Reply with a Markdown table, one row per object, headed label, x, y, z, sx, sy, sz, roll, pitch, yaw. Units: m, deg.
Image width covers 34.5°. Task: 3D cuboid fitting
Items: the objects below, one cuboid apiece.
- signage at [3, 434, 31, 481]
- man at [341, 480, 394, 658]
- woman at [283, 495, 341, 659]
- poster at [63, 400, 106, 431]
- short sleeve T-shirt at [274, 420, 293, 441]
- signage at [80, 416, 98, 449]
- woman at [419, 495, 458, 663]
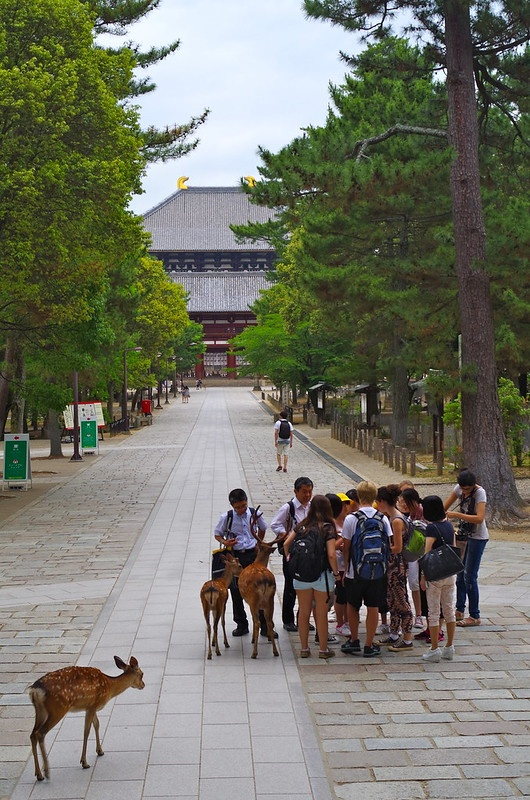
| label | x | y | z | sx | sy | sz | roll | pitch | yaw |
| --- | --- | --- | --- | --- | --- | --- | --- | --- | --- |
| signage | -5.365 | 1.297 | 18.466 | 0.529 | 1.112 | 0.673 | 0 | -1 | -17 |
| man | 0.816 | 1.377 | 6.901 | 0.418 | 1.446 | 0.573 | -1 | -1 | 6 |
| woman | 0.395 | 1.424 | 6.843 | 0.372 | 1.318 | 0.558 | 0 | -1 | -22 |
| poster | -5.773 | 0.504 | 27.067 | 1.155 | 0.805 | 0.416 | -1 | 7 | -1 |
| short sleeve T-shirt | 0.450 | 0.750 | 20.905 | 0.366 | 0.507 | 0.552 | -1 | -1 | 1 |
| signage | -5.502 | 1.080 | 26.617 | 0.497 | 0.939 | 0.647 | 0 | -1 | -16 |
| woman | 1.403 | 1.429 | 6.883 | 0.262 | 1.310 | 0.619 | -1 | -1 | 12 |
